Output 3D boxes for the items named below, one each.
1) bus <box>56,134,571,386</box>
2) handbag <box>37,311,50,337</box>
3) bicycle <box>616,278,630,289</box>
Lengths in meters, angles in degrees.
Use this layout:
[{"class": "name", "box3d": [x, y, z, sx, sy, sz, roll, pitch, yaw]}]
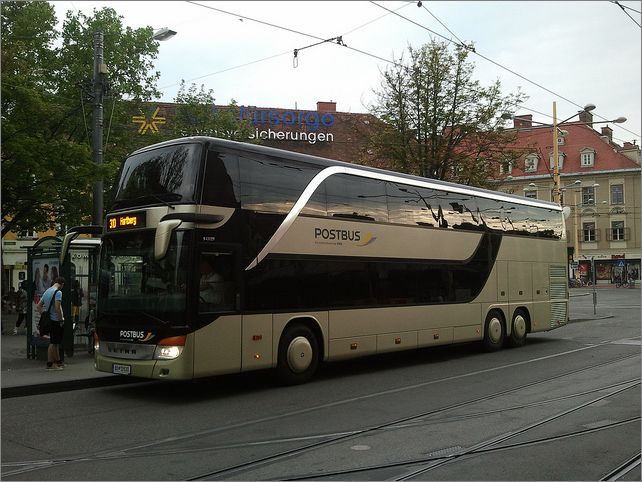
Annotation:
[{"class": "bus", "box3d": [1.571, 0.751, 16.075, 3.405, 4.663, 15.348, -4, -6, 45]}, {"class": "handbag", "box3d": [-6.189, 1.834, 13.189, 0.179, 0.523, 0.410, 1, -3, -34]}, {"class": "bicycle", "box3d": [34.439, 4.893, 67.293, 1.969, 1.243, 0.945, 2, -5, -40]}]
